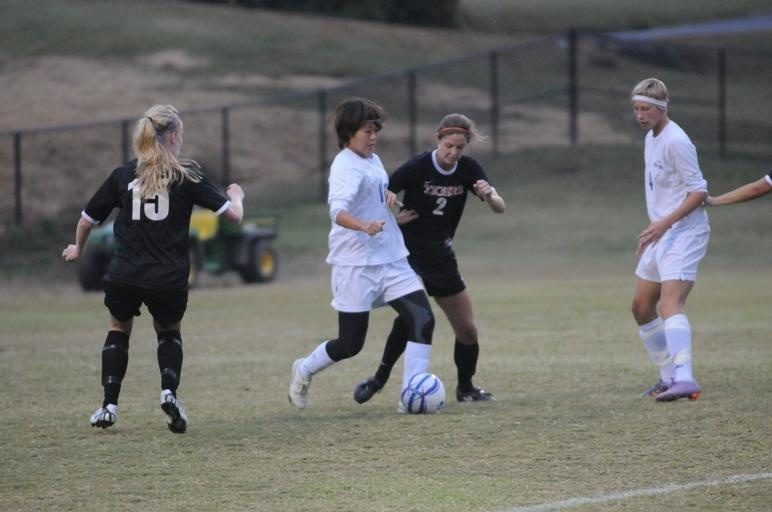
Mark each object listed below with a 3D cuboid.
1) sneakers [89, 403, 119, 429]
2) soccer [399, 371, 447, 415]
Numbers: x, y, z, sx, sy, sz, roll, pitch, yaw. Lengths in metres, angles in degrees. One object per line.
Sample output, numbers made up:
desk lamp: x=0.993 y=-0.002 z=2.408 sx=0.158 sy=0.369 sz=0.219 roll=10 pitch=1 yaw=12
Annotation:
sneakers: x=-4.618 y=2.633 z=24.128 sx=0.282 sy=0.257 sz=0.540 roll=30 pitch=-5 yaw=-18
soccer: x=0.650 y=2.342 z=24.807 sx=0.887 sy=0.652 sz=0.722 roll=-10 pitch=-38 yaw=-6
